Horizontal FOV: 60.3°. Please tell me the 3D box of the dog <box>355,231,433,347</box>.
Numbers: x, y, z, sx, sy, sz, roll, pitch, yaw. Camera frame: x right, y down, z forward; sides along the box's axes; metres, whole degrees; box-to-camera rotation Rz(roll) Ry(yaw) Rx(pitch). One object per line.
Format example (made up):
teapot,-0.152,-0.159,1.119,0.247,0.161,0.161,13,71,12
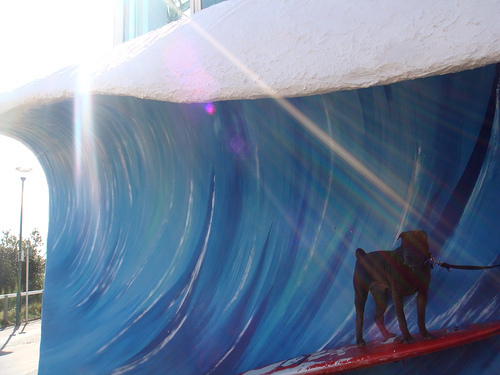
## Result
dog,1.695,1.243,5.118,0.476,1.317,1.552,0,-11,-18
